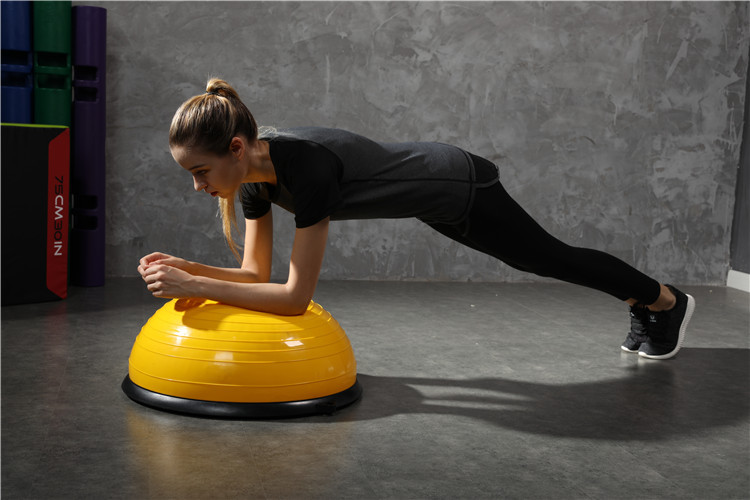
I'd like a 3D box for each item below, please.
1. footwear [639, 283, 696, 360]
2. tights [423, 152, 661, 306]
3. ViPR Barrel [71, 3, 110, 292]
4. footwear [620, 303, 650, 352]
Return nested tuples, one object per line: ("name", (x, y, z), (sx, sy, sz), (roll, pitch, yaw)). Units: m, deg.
("footwear", (1.473, 0.381, 3.678), (0.241, 0.375, 0.253), (17, 31, 21))
("tights", (0.655, -0.089, 3.349), (1.620, 0.382, 0.427), (15, -22, -23))
("ViPR Barrel", (-1.920, -0.680, 4.758), (0.282, 1.820, 0.365), (-1, 14, -8))
("footwear", (1.338, 0.408, 3.701), (0.096, 0.198, 0.290), (14, 22, 39))
